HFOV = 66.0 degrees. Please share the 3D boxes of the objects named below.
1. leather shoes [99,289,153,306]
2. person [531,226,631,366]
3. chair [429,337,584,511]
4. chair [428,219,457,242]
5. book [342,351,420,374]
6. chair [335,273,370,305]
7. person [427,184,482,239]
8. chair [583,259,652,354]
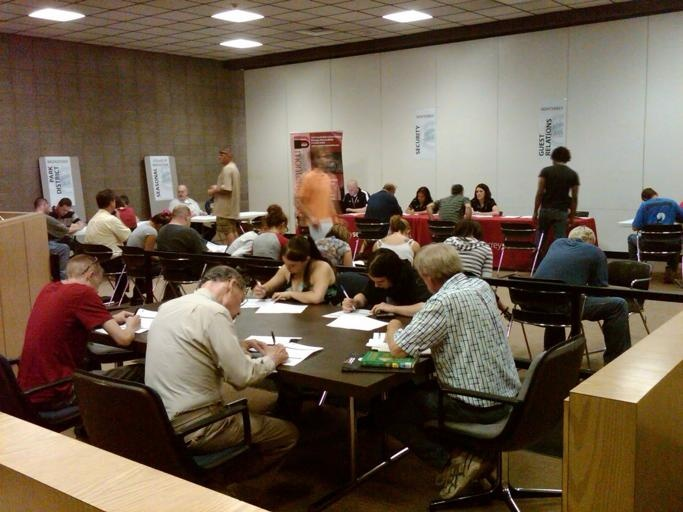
[{"bbox_3d":[-2.642,0.513,6.505,0.396,0.084,0.264,4,11,36],"label":"leather shoes"},{"bbox_3d":[1.931,0.304,4.281,0.866,1.095,0.743,7,11,27],"label":"person"},{"bbox_3d":[0.770,0.828,2.512,0.679,0.971,0.441,2,14,16],"label":"chair"},{"bbox_3d":[1.567,-0.376,8.226,0.428,0.447,0.420,8,17,33],"label":"chair"},{"bbox_3d":[0.184,0.508,2.472,0.305,0.063,0.250,3,13,22],"label":"book"},{"bbox_3d":[0.112,0.237,3.909,0.219,0.240,0.220,1,-2,9],"label":"chair"},{"bbox_3d":[1.698,-0.612,8.472,1.024,0.640,0.642,9,-18,-20],"label":"person"},{"bbox_3d":[2.350,0.416,4.567,0.616,0.681,0.537,-6,11,0],"label":"chair"}]
